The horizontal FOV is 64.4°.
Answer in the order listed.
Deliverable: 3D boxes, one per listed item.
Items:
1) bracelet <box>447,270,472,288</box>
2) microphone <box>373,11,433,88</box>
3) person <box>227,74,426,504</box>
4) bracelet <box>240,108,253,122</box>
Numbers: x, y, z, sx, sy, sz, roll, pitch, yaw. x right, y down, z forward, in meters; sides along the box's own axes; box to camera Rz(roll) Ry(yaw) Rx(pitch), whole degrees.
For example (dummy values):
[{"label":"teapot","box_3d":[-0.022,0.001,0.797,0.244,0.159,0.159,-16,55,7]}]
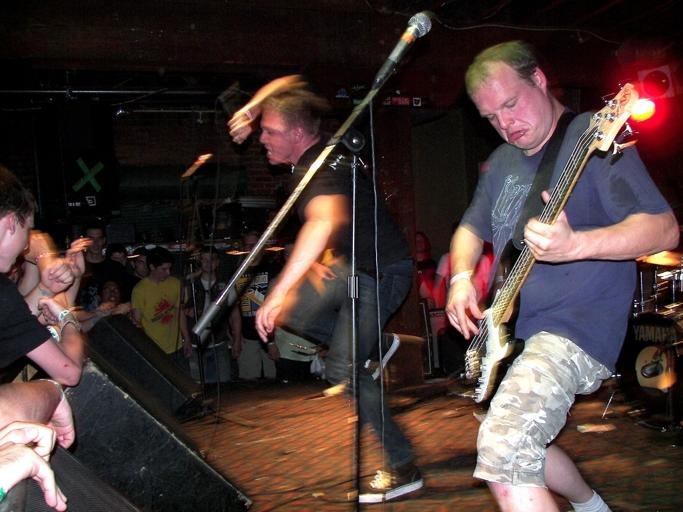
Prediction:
[{"label":"bracelet","box_3d":[0.548,0.104,2.506,0.085,0.043,0.062,-7,-4,-1]},{"label":"microphone","box_3d":[0.281,-0.929,2.421,0.253,0.404,0.291,-2,1,19]},{"label":"person","box_3d":[-0.068,0.147,3.064,0.905,1.871,1.049,-2,1,12]},{"label":"bracelet","box_3d":[-0.648,-0.979,3.762,0.077,0.018,0.074,18,-28,-9]}]
